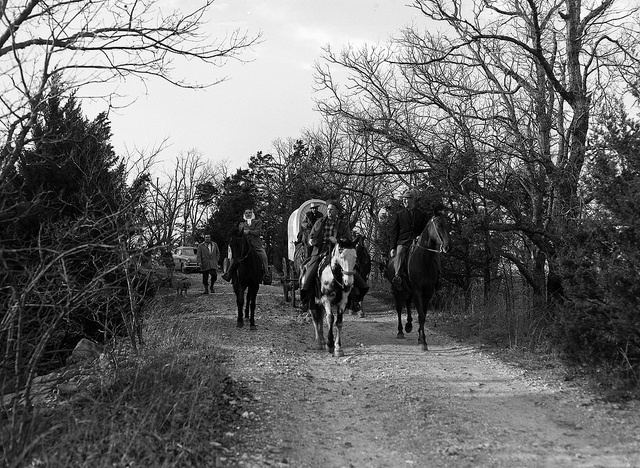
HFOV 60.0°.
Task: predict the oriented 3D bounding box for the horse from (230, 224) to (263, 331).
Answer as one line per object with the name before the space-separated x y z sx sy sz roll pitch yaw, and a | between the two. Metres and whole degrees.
horse | -2.114 1.229 15.918 0.940 2.781 1.944 1 2 -5
